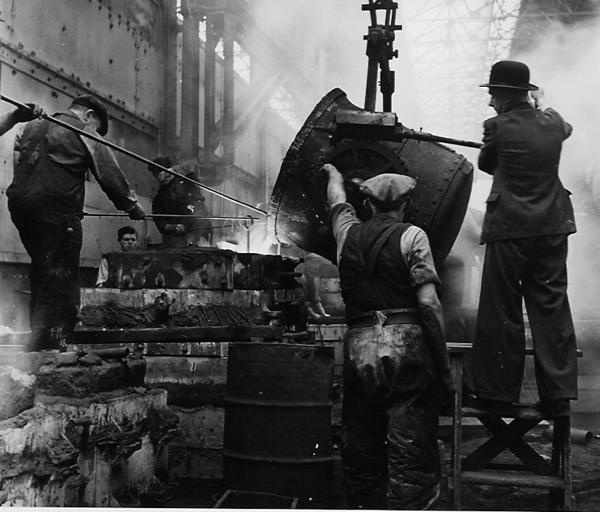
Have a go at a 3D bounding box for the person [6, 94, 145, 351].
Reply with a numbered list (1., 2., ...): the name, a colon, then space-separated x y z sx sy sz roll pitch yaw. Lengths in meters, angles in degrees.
1. person: -2.072 -0.358 6.778 0.655 2.316 1.208 -7 -11 35

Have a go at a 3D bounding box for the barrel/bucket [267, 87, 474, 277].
1. barrel/bucket: 0.733 -0.485 6.804 1.552 1.246 1.215 25 4 16

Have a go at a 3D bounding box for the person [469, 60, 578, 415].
1. person: 1.731 -0.121 6.163 0.832 2.512 0.311 -4 -9 18

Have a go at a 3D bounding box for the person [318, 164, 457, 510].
1. person: 0.674 0.594 5.698 0.818 2.419 0.363 -3 -9 10
